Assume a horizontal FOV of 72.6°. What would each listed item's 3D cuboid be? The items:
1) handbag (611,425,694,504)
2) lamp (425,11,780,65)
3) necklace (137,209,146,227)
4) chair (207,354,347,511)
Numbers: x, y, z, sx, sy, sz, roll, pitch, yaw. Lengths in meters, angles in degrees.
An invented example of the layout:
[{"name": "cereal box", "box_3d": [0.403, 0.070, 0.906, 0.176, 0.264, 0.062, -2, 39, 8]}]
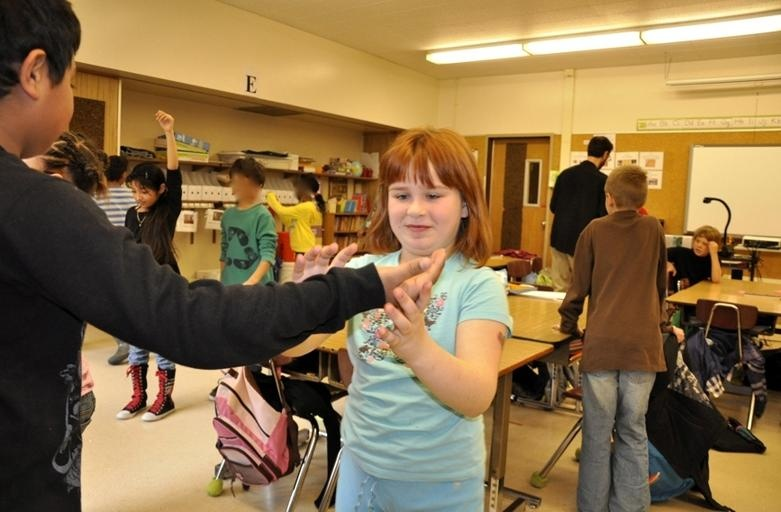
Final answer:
[{"name": "handbag", "box_3d": [1.407, 1.108, 2.873, 0.411, 0.334, 0.223, -15, 28, -34]}, {"name": "lamp", "box_3d": [2.452, -2.591, 6.349, 3.641, 0.250, 0.479, 8, 10, 28]}, {"name": "necklace", "box_3d": [-1.698, -0.268, 3.639, 0.096, 0.129, 0.051, -2, -4, 23]}, {"name": "chair", "box_3d": [-0.620, 0.867, 2.873, 0.824, 0.749, 0.572, 4, -5, -43]}]
